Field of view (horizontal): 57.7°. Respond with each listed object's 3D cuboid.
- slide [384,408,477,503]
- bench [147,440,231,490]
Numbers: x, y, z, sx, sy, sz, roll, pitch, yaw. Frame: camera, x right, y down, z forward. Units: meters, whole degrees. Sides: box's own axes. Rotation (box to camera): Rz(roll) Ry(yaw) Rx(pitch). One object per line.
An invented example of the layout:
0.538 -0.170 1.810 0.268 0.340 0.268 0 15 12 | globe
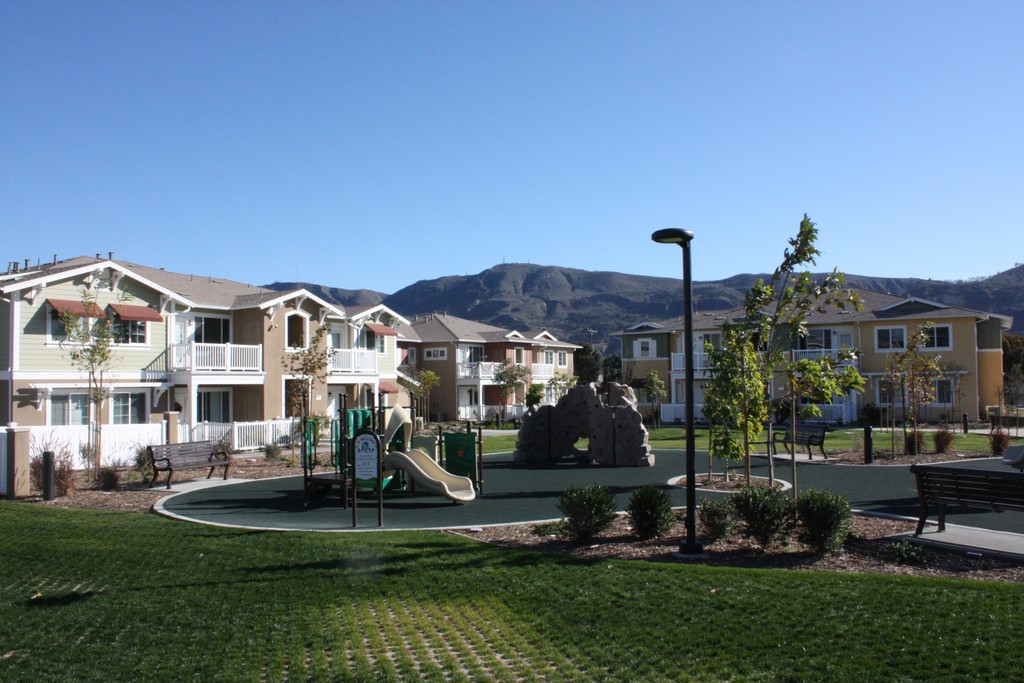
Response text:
-2.532 3.202 26.237 3.268 2.443 1.766 6 11 41 | slide
-9.853 3.779 28.545 0.895 1.142 2.833 5 -1 17 | bench
